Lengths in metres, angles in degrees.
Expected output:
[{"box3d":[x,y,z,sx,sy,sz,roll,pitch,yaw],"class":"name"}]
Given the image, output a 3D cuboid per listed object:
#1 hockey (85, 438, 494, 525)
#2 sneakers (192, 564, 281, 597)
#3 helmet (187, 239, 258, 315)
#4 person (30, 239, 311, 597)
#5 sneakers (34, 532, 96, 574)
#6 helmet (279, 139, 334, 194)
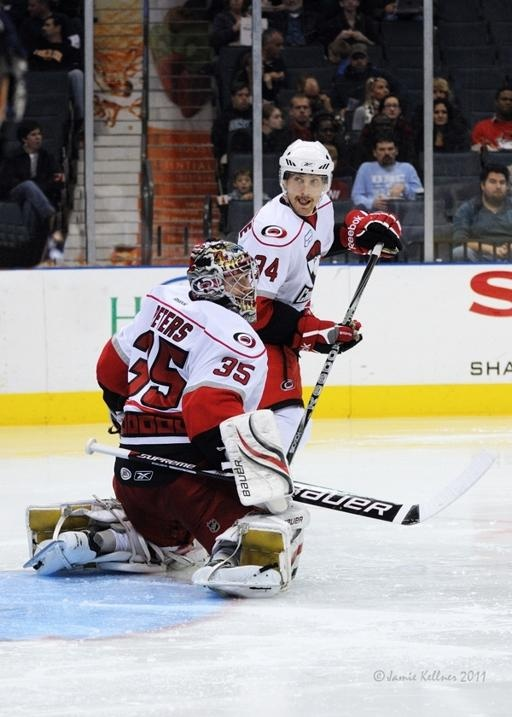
[{"box3d":[0.125,0.403,3.056,1.396,0.172,0.173,8,44,-18],"class":"hockey"},{"box3d":[-0.037,0.547,2.358,0.215,0.095,0.126,2,3,11],"class":"sneakers"},{"box3d":[-0.089,-0.214,2.583,0.243,0.197,0.177,4,9,-5],"class":"helmet"},{"box3d":[-0.184,0.143,2.554,0.741,0.921,0.430,3,4,26],"class":"person"},{"box3d":[-0.504,0.523,2.544,0.183,0.064,0.095,-20,-34,12],"class":"sneakers"},{"box3d":[0.156,-0.689,3.422,0.190,0.177,0.198,3,22,-1],"class":"helmet"}]
